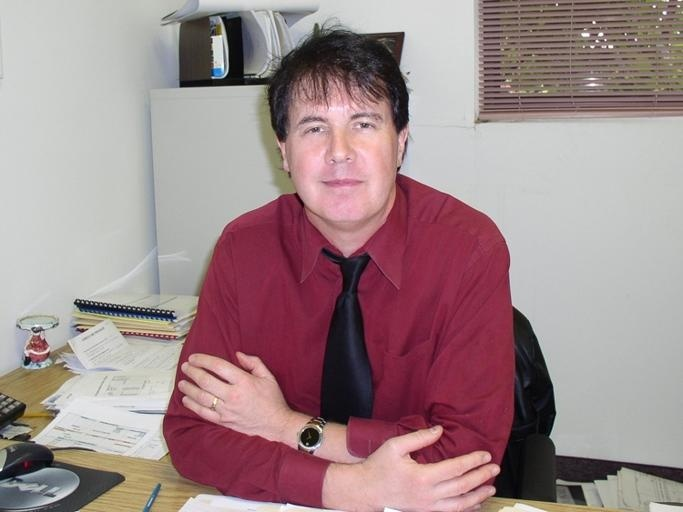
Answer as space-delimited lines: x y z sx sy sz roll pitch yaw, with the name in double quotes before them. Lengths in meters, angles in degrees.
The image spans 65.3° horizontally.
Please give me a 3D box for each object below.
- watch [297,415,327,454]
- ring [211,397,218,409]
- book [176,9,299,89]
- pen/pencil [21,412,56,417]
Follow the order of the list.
"watch" -0.071 0.445 1.324 0.051 0.078 0.079 1 -5 7
"ring" -0.315 0.370 1.340 0.020 0.022 0.022 3 -24 1
"book" -0.483 -0.935 2.403 0.643 0.237 0.495 3 15 14
"pen/pencil" -0.886 0.468 1.574 0.086 0.014 0.013 4 -31 2
